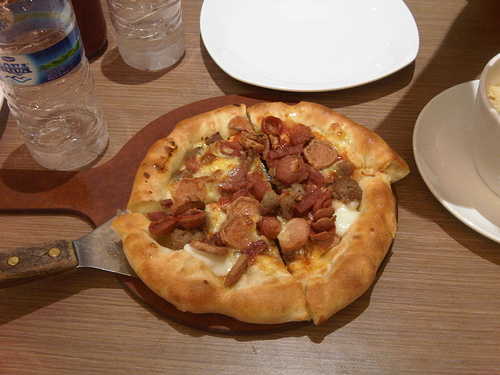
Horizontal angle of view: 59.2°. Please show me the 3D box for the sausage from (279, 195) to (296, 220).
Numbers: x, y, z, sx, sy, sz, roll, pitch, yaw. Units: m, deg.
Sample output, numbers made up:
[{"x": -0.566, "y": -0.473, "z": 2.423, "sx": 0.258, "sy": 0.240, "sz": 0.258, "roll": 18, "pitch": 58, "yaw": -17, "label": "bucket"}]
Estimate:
[{"x": 0.152, "y": 0.081, "z": 1.813, "sx": 0.073, "sy": 0.033, "sz": 0.088, "roll": -19, "pitch": 94, "yaw": -1, "label": "sausage"}]

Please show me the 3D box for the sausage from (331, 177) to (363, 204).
[{"x": 0.404, "y": 0.010, "z": 1.854, "sx": 0.119, "sy": 0.033, "sz": 0.108, "roll": 0, "pitch": 72, "yaw": 4, "label": "sausage"}]

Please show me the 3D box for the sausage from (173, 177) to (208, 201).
[{"x": -0.250, "y": 0.003, "z": 1.845, "sx": 0.104, "sy": 0.027, "sz": 0.102, "roll": 6, "pitch": 57, "yaw": 2, "label": "sausage"}]

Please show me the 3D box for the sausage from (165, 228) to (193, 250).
[{"x": -0.280, "y": 0.203, "z": 1.744, "sx": 0.081, "sy": 0.024, "sz": 0.078, "roll": 28, "pitch": 82, "yaw": 14, "label": "sausage"}]

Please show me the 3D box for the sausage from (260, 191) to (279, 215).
[{"x": 0.076, "y": 0.061, "z": 1.804, "sx": 0.070, "sy": 0.033, "sz": 0.092, "roll": 35, "pitch": 80, "yaw": 22, "label": "sausage"}]

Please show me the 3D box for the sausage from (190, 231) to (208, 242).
[{"x": -0.202, "y": 0.195, "z": 1.754, "sx": 0.045, "sy": 0.012, "sz": 0.042, "roll": 3, "pitch": 51, "yaw": -8, "label": "sausage"}]

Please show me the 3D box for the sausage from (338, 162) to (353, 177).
[{"x": 0.421, "y": -0.078, "z": 1.928, "sx": 0.060, "sy": 0.017, "sz": 0.054, "roll": -5, "pitch": 78, "yaw": 4, "label": "sausage"}]

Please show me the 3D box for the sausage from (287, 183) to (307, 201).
[{"x": 0.204, "y": 0.026, "z": 1.850, "sx": 0.074, "sy": 0.025, "sz": 0.072, "roll": -33, "pitch": 68, "yaw": -11, "label": "sausage"}]

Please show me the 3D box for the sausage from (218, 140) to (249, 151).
[{"x": -0.074, "y": -0.187, "z": 1.984, "sx": 0.102, "sy": 0.017, "sz": 0.021, "roll": 16, "pitch": 58, "yaw": 1, "label": "sausage"}]
